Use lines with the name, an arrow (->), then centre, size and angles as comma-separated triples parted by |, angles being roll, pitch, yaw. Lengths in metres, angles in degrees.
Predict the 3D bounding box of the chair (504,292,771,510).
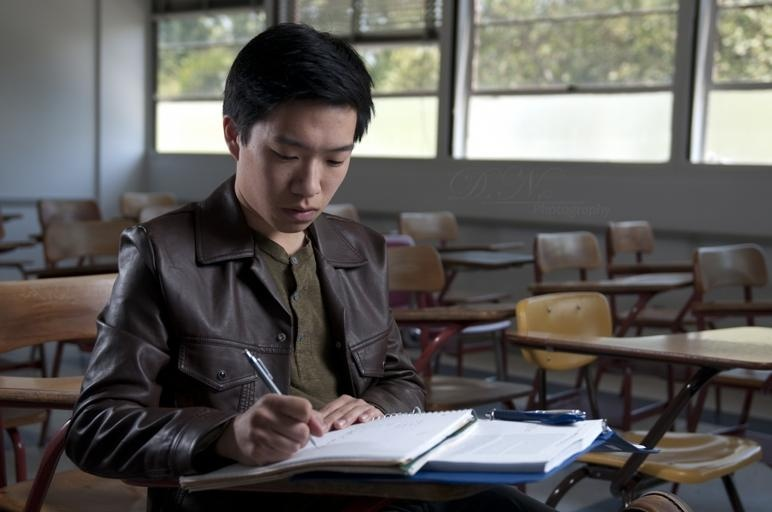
chair -> 0.774, 0.414, 1.953 | 0.742, 0.666, 0.648 | -4, -4, 33

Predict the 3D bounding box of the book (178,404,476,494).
book -> -0.101, 0.353, 1.218 | 0.502, 0.122, 0.220 | 2, 9, 15

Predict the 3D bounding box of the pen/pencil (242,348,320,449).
pen/pencil -> -0.207, 0.272, 1.253 | 0.020, 0.172, 0.022 | -40, -12, 31
